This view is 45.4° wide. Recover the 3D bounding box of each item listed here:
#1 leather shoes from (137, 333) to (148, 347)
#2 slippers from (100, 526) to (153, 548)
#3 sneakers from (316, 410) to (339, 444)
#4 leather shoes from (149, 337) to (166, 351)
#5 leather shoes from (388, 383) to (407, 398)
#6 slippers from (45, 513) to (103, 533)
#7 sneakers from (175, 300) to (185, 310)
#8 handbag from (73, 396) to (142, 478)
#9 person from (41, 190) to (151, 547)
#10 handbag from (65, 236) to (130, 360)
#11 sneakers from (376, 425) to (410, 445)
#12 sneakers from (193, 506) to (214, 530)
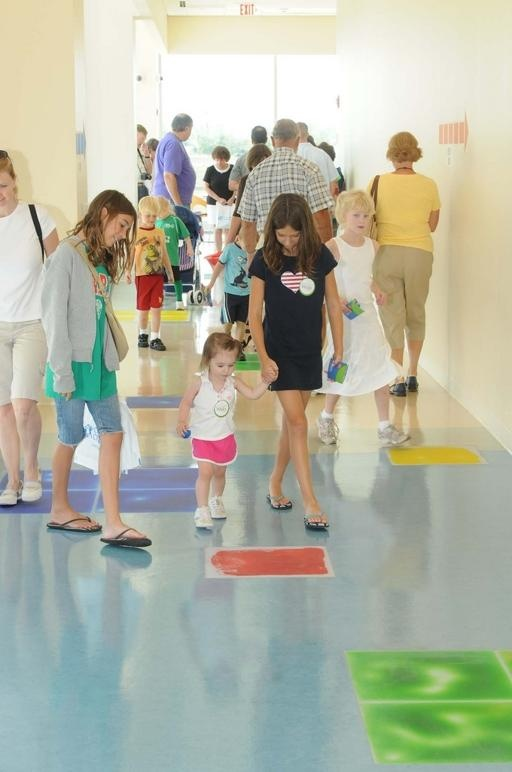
[{"bbox_3d":[-1.254,-0.505,6.821,0.068,0.142,0.199,1,15,-2],"label":"leather shoes"},{"bbox_3d":[-0.552,0.643,2.609,0.205,0.084,0.090,-2,-4,11],"label":"slippers"},{"bbox_3d":[0.486,0.292,4.165,0.090,0.255,0.103,-7,-2,-9],"label":"sneakers"},{"bbox_3d":[-1.083,-0.450,6.748,0.085,0.107,0.243,-2,10,-17],"label":"leather shoes"},{"bbox_3d":[1.227,0.032,5.238,0.072,0.074,0.184,0,8,-4],"label":"leather shoes"},{"bbox_3d":[-0.831,0.611,2.771,0.180,0.051,0.103,-1,4,10],"label":"slippers"},{"bbox_3d":[-1.099,-1.181,8.947,0.121,0.131,0.131,-7,8,-38],"label":"sneakers"},{"bbox_3d":[-0.702,0.174,2.766,0.286,0.291,0.113,6,16,40],"label":"handbag"},{"bbox_3d":[-0.693,-0.053,2.600,0.378,1.452,0.405,-3,4,-20],"label":"person"},{"bbox_3d":[-0.676,-0.371,2.623,0.109,0.446,0.254,1,28,44],"label":"handbag"},{"bbox_3d":[0.920,0.318,4.083,0.166,0.089,0.132,0,8,32],"label":"sneakers"},{"bbox_3d":[-0.231,0.616,2.809,0.048,0.056,0.128,0,2,-10],"label":"sneakers"}]
